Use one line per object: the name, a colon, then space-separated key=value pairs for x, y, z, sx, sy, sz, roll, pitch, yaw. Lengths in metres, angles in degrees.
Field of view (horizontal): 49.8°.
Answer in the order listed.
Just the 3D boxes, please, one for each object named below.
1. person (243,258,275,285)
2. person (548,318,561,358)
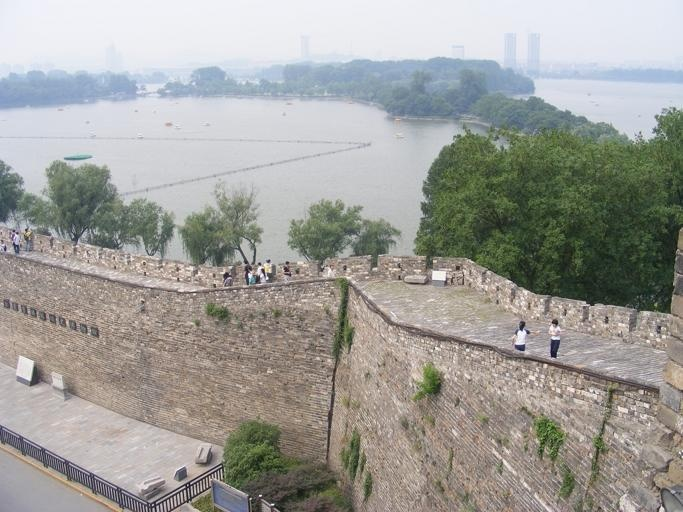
person: x=-2.464 y=0.459 z=22.712 sx=0.648 sy=0.598 sz=0.823 roll=4 pitch=10 yaw=40
person: x=4.530 y=1.740 z=15.671 sx=0.192 sy=0.874 sz=0.898 roll=3 pitch=12 yaw=15
